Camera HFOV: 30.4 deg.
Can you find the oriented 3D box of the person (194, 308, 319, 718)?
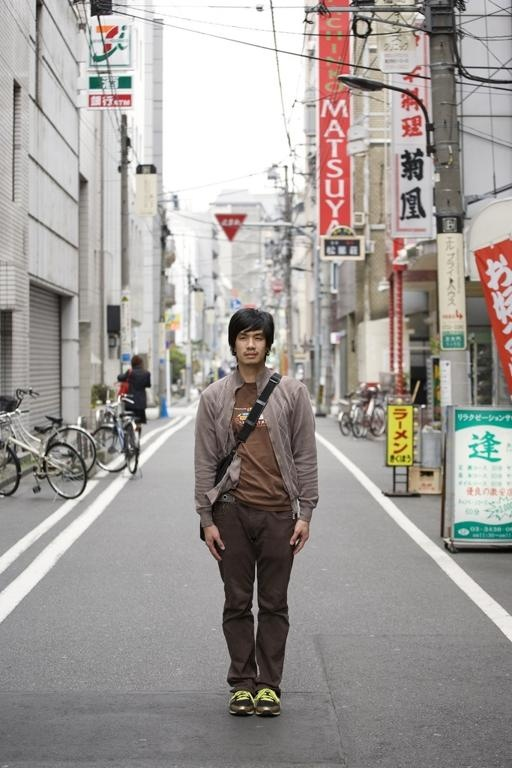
[{"bbox_3d":[-0.003,0.507,3.954,0.507,1.679,0.340,0,0,1],"label":"person"}]

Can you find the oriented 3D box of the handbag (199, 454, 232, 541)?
[{"bbox_3d":[-0.164,0.466,3.913,0.084,0.352,0.058,22,-3,14],"label":"handbag"}]

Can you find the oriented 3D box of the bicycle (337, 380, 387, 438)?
[{"bbox_3d":[2.690,0.779,23.980,0.806,1.311,1.980,5,12,35],"label":"bicycle"}]

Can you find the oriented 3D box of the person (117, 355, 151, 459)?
[{"bbox_3d":[-2.253,0.417,17.550,0.535,1.869,0.562,4,-2,7],"label":"person"}]
